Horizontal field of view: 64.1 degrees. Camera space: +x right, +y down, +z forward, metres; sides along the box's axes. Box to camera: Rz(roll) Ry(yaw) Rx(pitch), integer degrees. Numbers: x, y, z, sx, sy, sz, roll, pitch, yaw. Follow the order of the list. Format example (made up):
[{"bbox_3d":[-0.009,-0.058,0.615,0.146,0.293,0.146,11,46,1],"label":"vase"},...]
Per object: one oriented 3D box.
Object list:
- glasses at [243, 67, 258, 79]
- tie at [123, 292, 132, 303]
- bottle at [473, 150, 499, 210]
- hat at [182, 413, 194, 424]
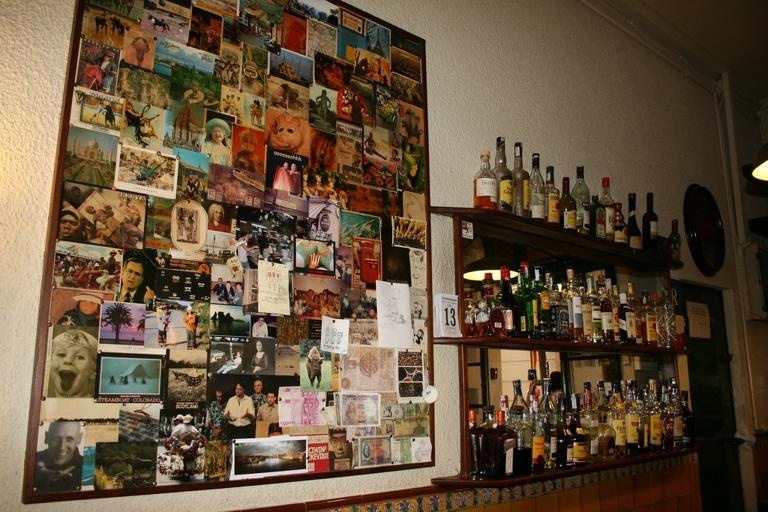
[{"bbox_3d":[-0.612,-0.829,2.792,0.045,0.053,0.023,3,-54,-10],"label":"glasses"},{"bbox_3d":[-1.029,0.167,2.458,0.027,0.039,0.009,8,-28,-21],"label":"tie"},{"bbox_3d":[0.534,-0.385,3.250,0.129,0.357,0.228,-3,-14,9],"label":"bottle"},{"bbox_3d":[-0.800,0.658,2.486,0.038,0.026,0.052,3,-8,-14],"label":"hat"}]
